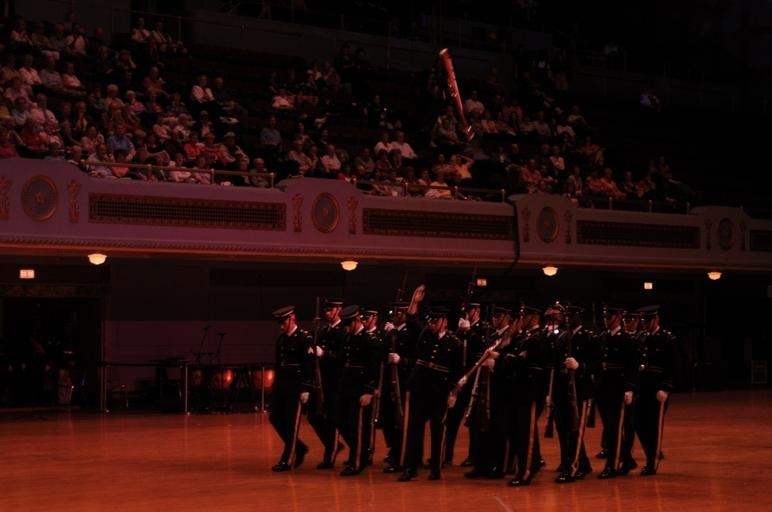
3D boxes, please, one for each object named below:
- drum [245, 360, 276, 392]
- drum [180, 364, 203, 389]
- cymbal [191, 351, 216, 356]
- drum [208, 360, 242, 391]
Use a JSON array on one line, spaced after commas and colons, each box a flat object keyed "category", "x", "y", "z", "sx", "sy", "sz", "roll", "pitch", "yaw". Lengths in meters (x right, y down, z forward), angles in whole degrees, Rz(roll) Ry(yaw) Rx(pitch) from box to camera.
[{"category": "drum", "x": -2.998, "y": 2.834, "z": 25.902, "sx": 0.825, "sy": 0.706, "sz": 0.766, "roll": 1, "pitch": -2, "yaw": 19}, {"category": "drum", "x": -4.463, "y": 2.810, "z": 25.489, "sx": 0.757, "sy": 0.586, "sz": 0.511, "roll": 5, "pitch": -9, "yaw": -28}, {"category": "cymbal", "x": -4.412, "y": 2.376, "z": 26.675, "sx": 0.537, "sy": 0.151, "sz": 0.643, "roll": 2, "pitch": -10, "yaw": -9}, {"category": "drum", "x": -3.726, "y": 2.822, "z": 25.438, "sx": 0.646, "sy": 0.456, "sz": 0.738, "roll": -5, "pitch": -11, "yaw": 39}]
